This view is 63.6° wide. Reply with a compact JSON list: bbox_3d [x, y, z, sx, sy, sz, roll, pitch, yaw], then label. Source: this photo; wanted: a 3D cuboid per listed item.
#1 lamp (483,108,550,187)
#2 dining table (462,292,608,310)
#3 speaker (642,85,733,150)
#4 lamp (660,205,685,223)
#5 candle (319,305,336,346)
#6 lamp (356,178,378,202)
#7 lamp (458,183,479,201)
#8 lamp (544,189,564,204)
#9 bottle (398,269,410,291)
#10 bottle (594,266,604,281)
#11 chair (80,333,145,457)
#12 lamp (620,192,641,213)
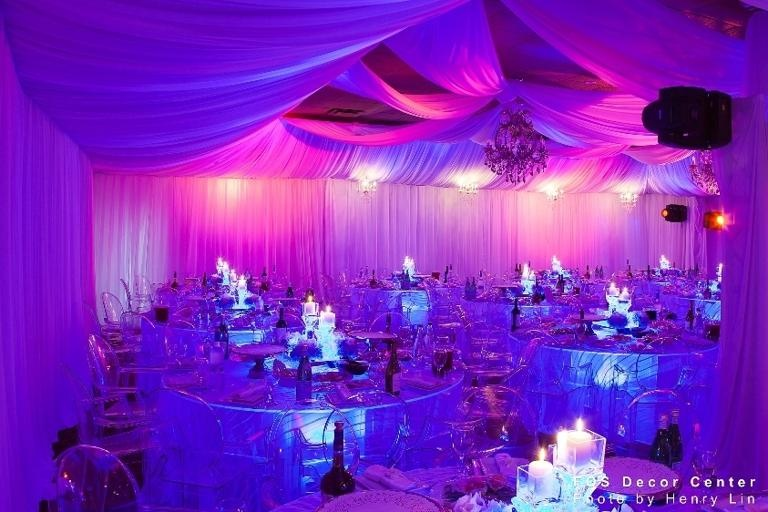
[{"bbox_3d":[2.402,-2.046,11.211,1.050,1.332,0.776,-3,3,10],"label":"lamp"},{"bbox_3d":[2.468,0.727,10.169,2.287,0.300,0.941,-4,2,2],"label":"dining table"},{"bbox_3d":[2.912,-1.298,6.156,0.800,0.592,0.648,6,-2,18],"label":"speaker"},{"bbox_3d":[8.641,-1.271,18.374,0.571,0.548,0.575,1,0,-7],"label":"lamp"},{"bbox_3d":[-0.570,0.709,6.133,0.170,0.307,0.185,-4,3,-8],"label":"candle"},{"bbox_3d":[-0.456,-1.603,14.751,0.458,0.733,0.435,11,18,29],"label":"lamp"},{"bbox_3d":[2.260,-1.682,16.386,0.397,0.501,0.408,-1,-6,24],"label":"lamp"},{"bbox_3d":[4.738,-1.655,17.096,0.364,0.633,0.373,-2,7,8],"label":"lamp"},{"bbox_3d":[0.428,0.479,11.749,0.233,0.436,0.325,-1,2,-9],"label":"bottle"},{"bbox_3d":[5.192,0.424,14.848,0.183,0.575,0.186,-5,17,1],"label":"bottle"},{"bbox_3d":[-2.775,1.370,6.332,0.592,0.870,1.624,-5,2,-26],"label":"chair"},{"bbox_3d":[7.381,-1.601,18.482,0.576,0.782,0.584,-2,2,36],"label":"lamp"}]
